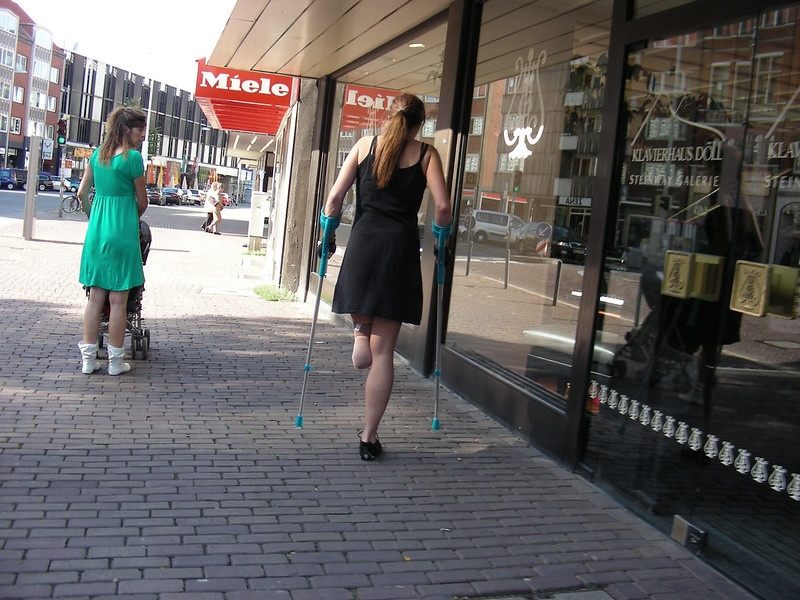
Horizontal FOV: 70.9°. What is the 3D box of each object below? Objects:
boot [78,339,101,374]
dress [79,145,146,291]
[{"bbox_3d":[-2.994,0.550,5.348,0.185,0.289,0.195,6,8,-17],"label":"boot"},{"bbox_3d":[-2.727,-0.758,5.366,0.569,1.350,0.407,6,9,-22],"label":"dress"}]
